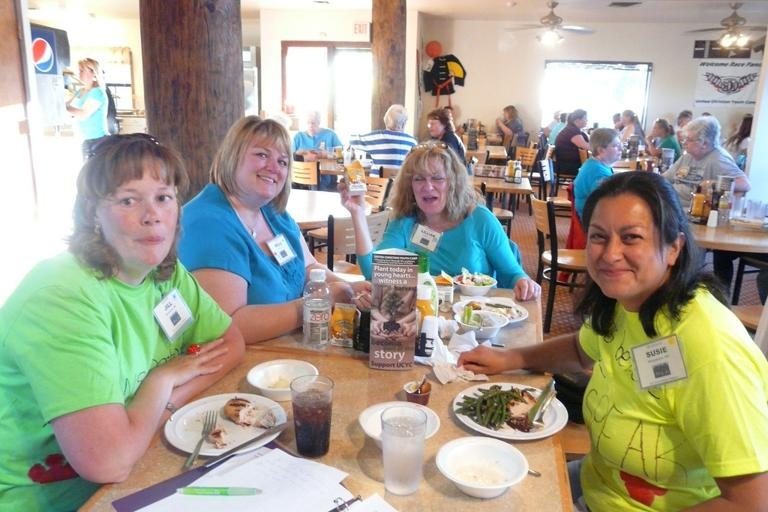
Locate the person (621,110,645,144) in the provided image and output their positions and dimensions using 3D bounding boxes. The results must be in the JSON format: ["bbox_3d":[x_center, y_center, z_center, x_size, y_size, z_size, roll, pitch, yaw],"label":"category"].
[{"bbox_3d":[5.174,-2.682,10.817,0.499,0.681,1.626,8,17,24],"label":"person"}]

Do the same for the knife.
[{"bbox_3d":[-0.406,0.574,1.560,0.305,0.014,0.041,-16,39,-43],"label":"knife"}]

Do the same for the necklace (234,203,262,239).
[{"bbox_3d":[-0.648,-0.165,2.499,0.043,0.156,0.093,-38,-14,30],"label":"necklace"}]

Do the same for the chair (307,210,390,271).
[{"bbox_3d":[-0.224,-0.120,3.438,0.365,0.514,0.355,-12,41,-29],"label":"chair"}]

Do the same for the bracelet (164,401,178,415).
[{"bbox_3d":[-0.703,0.509,1.747,0.042,0.038,0.037,2,12,-15],"label":"bracelet"}]

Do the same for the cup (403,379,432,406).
[{"bbox_3d":[0.116,0.460,1.792,0.077,0.061,0.093,3,7,22],"label":"cup"}]

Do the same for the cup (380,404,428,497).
[{"bbox_3d":[0.060,0.545,1.502,0.122,0.203,0.173,0,16,1],"label":"cup"}]

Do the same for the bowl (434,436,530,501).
[{"bbox_3d":[0.280,0.602,1.496,0.254,0.059,0.195,-4,16,-15],"label":"bowl"}]

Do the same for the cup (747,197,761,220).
[{"bbox_3d":[2.992,-0.369,4.200,0.142,0.156,0.146,-4,9,1],"label":"cup"}]

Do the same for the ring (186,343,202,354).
[{"bbox_3d":[-0.690,0.339,1.898,0.036,0.019,0.044,-15,13,-3],"label":"ring"}]

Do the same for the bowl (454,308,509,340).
[{"bbox_3d":[0.430,0.291,2.210,0.147,0.052,0.140,4,12,-1],"label":"bowl"}]

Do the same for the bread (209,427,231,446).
[{"bbox_3d":[-0.491,0.546,1.570,0.040,0.018,0.051,-14,38,-40],"label":"bread"}]

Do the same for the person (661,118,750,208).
[{"bbox_3d":[3.176,-0.936,5.192,0.547,0.859,0.926,-10,16,-6],"label":"person"}]
